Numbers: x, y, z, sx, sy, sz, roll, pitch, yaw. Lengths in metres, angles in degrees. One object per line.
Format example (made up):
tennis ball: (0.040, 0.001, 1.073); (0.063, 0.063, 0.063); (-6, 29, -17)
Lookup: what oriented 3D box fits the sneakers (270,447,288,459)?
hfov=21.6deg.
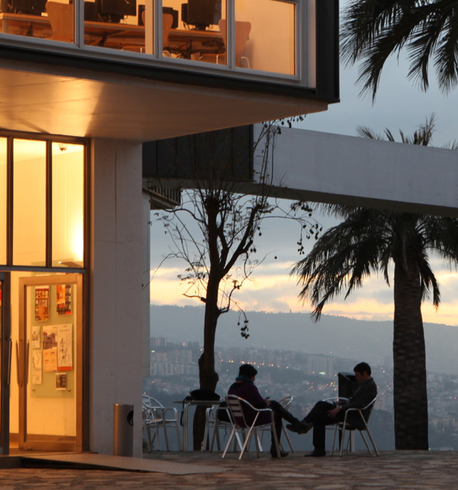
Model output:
sneakers: (0.629, 2.563, 14.813); (0.223, 0.193, 0.095); (-3, 2, -20)

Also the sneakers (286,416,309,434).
sneakers: (0.843, 2.177, 14.444); (0.286, 0.157, 0.125); (3, -5, 24)

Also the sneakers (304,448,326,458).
sneakers: (1.067, 2.562, 14.803); (0.267, 0.149, 0.101); (2, -6, 1)

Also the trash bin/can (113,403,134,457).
trash bin/can: (-1.237, 2.176, 14.087); (0.276, 0.618, 0.126); (-9, -6, -7)
